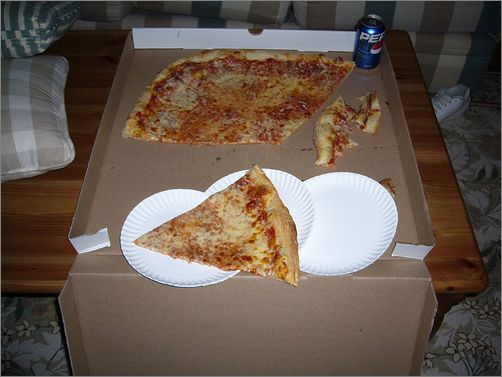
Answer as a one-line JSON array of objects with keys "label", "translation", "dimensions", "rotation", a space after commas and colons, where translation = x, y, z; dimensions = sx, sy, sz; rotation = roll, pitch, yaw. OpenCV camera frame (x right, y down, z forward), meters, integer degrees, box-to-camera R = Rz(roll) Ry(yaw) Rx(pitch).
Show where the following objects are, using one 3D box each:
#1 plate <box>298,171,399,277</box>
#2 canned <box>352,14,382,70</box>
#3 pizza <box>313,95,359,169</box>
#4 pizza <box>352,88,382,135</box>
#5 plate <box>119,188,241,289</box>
[{"label": "plate", "translation": [0.244, 0.111, 1.226], "dimensions": [0.371, 0.059, 0.394], "rotation": [-2, 49, 35]}, {"label": "canned", "translation": [0.481, -0.596, 1.650], "dimensions": [0.107, 0.191, 0.110], "rotation": [6, 53, 8]}, {"label": "pizza", "translation": [0.323, -0.163, 1.477], "dimensions": [0.185, 0.074, 0.370], "rotation": [0, 53, 20]}, {"label": "pizza", "translation": [0.442, -0.289, 1.517], "dimensions": [0.094, 0.052, 0.228], "rotation": [11, 52, 2]}, {"label": "plate", "translation": [-0.228, 0.146, 1.167], "dimensions": [0.280, 0.058, 0.336], "rotation": [-17, 52, -16]}]
